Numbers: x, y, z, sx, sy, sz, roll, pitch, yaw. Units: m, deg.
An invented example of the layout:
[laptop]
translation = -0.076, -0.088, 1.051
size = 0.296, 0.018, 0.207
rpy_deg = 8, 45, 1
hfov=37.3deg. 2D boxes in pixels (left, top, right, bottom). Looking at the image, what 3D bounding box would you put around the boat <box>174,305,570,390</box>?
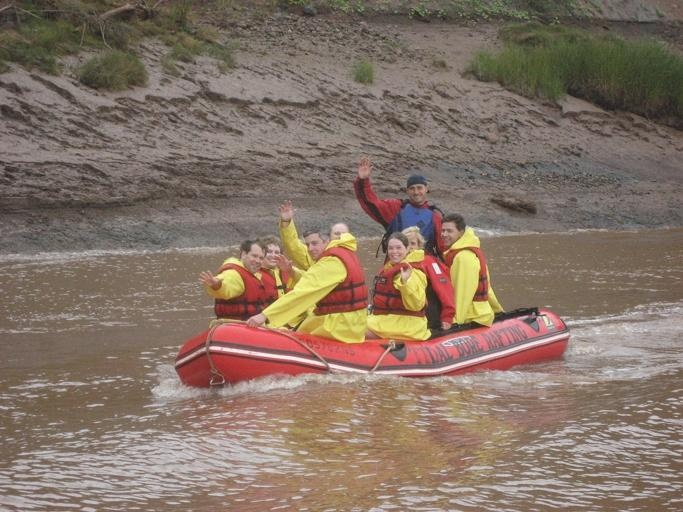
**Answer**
[boat]
translation = 0.580, 1.201, 13.426
size = 5.076, 0.541, 1.516
rpy_deg = 1, -3, -19
